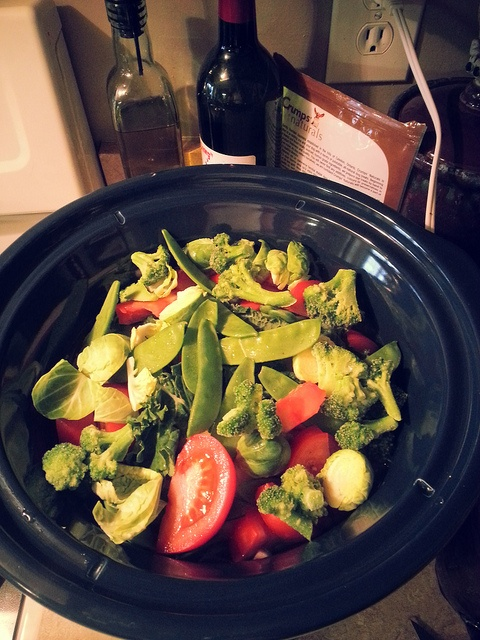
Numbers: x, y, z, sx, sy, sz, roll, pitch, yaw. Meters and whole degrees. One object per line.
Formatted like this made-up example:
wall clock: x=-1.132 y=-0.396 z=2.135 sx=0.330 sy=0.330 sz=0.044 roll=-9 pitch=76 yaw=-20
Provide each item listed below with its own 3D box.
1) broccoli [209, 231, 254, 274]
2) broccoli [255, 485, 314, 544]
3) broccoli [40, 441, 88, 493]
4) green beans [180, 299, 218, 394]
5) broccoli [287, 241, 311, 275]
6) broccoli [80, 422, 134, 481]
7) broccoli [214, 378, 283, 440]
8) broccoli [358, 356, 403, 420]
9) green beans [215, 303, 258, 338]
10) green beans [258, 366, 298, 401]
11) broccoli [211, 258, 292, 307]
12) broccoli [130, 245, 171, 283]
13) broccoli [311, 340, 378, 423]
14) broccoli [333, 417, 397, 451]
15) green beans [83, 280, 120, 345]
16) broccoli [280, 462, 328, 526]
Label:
broccoli: x=-0.017 y=-0.088 z=0.641 sx=0.056 sy=0.031 sz=0.048 roll=-20 pitch=89 yaw=-26
broccoli: x=0.041 y=0.183 z=0.460 sx=0.022 sy=0.051 sz=0.052 roll=-32 pitch=75 yaw=-17
broccoli: x=-0.178 y=0.149 z=0.491 sx=0.041 sy=0.014 sz=0.042 roll=-42 pitch=70 yaw=4
green beans: x=-0.046 y=0.037 z=0.554 sx=0.041 sy=0.022 sz=0.172 roll=1 pitch=24 yaw=-6
broccoli: x=0.075 y=-0.080 z=0.629 sx=0.028 sy=0.013 sz=0.042 roll=-4 pitch=95 yaw=-2
broccoli: x=-0.139 y=0.137 z=0.523 sx=0.058 sy=0.028 sz=0.048 roll=-37 pitch=77 yaw=-32
broccoli: x=0.008 y=0.098 z=0.504 sx=0.056 sy=0.017 sz=0.056 roll=-22 pitch=59 yaw=8
broccoli: x=0.154 y=0.076 z=0.551 sx=0.033 sy=0.028 sz=0.062 roll=-32 pitch=52 yaw=17
green beans: x=-0.006 y=-0.002 z=0.597 sx=0.066 sy=0.008 sz=0.022 roll=31 pitch=71 yaw=31
green beans: x=0.041 y=0.070 z=0.543 sx=0.028 sy=0.009 sz=0.043 roll=-36 pitch=71 yaw=-16
broccoli: x=0.013 y=-0.040 z=0.615 sx=0.083 sy=0.036 sz=0.058 roll=23 pitch=76 yaw=15
broccoli: x=-0.112 y=-0.071 z=0.627 sx=0.046 sy=0.026 sz=0.046 roll=31 pitch=65 yaw=14
broccoli: x=0.114 y=0.066 z=0.523 sx=0.071 sy=0.030 sz=0.073 roll=12 pitch=84 yaw=-6
broccoli: x=0.131 y=0.119 z=0.516 sx=0.056 sy=0.029 sz=0.035 roll=-18 pitch=49 yaw=-18
green beans: x=-0.168 y=-0.008 z=0.611 sx=0.019 sy=0.013 sz=0.119 roll=32 pitch=46 yaw=-25
broccoli: x=0.059 y=0.167 z=0.472 sx=0.036 sy=0.018 sz=0.051 roll=-9 pitch=64 yaw=-30
